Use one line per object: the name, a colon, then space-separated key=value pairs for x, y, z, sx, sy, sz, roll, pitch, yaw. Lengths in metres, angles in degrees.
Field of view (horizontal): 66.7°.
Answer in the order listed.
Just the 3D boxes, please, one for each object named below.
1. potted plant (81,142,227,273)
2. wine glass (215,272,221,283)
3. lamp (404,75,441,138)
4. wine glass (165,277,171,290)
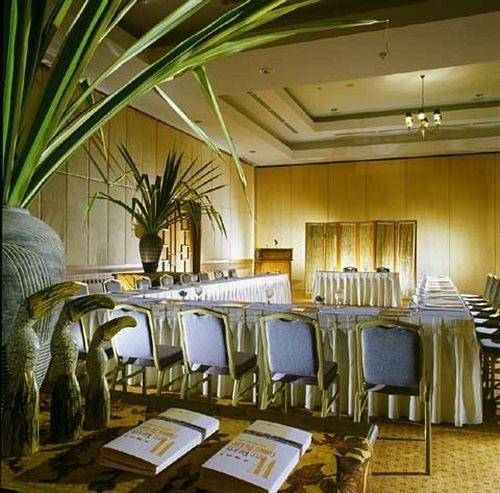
potted plant: x=-1.565 y=-0.411 z=5.939 sx=1.480 sy=1.688 sz=1.977 roll=-5 pitch=15 yaw=-23
wine glass: x=-0.553 y=0.519 z=6.666 sx=0.112 sy=0.202 sz=0.113 roll=5 pitch=8 yaw=37
lamp: x=3.363 y=-2.777 z=7.396 sx=0.653 sy=1.225 sz=0.717 roll=1 pitch=2 yaw=11
wine glass: x=-1.155 y=0.507 z=5.332 sx=0.101 sy=0.208 sz=0.120 roll=1 pitch=-5 yaw=-14
